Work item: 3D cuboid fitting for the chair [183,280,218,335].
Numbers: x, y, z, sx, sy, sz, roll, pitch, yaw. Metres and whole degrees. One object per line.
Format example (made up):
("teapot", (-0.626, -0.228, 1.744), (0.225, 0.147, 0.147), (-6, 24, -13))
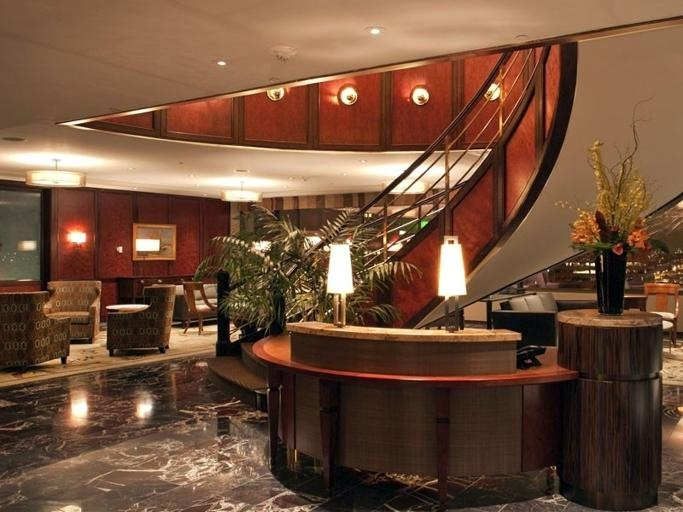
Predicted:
("chair", (-3.070, 1.097, 12.394), (0.700, 1.176, 2.241), (-1, 4, -14))

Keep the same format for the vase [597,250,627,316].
("vase", (2.117, 0.205, 4.520), (0.198, 0.501, 0.127), (1, 4, 16))
